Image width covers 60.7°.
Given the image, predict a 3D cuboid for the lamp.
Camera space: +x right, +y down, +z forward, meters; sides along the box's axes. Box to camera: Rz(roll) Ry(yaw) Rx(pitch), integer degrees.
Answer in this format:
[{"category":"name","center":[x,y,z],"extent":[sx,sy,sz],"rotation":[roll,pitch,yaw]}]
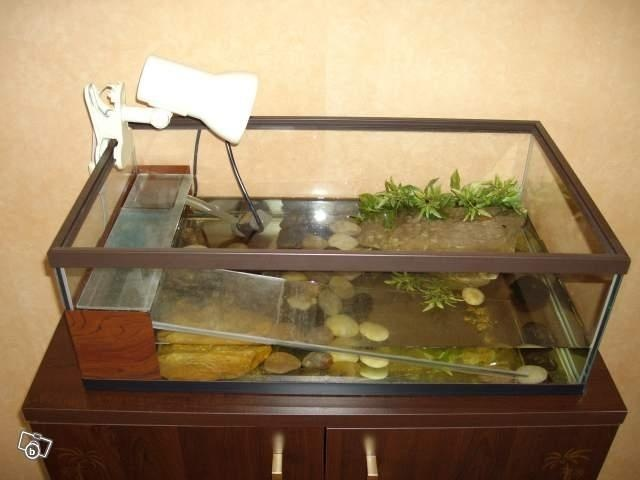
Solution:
[{"category":"lamp","center":[-0.357,-0.300,1.328],"extent":[0.414,0.267,0.142],"rotation":[3,19,0]}]
